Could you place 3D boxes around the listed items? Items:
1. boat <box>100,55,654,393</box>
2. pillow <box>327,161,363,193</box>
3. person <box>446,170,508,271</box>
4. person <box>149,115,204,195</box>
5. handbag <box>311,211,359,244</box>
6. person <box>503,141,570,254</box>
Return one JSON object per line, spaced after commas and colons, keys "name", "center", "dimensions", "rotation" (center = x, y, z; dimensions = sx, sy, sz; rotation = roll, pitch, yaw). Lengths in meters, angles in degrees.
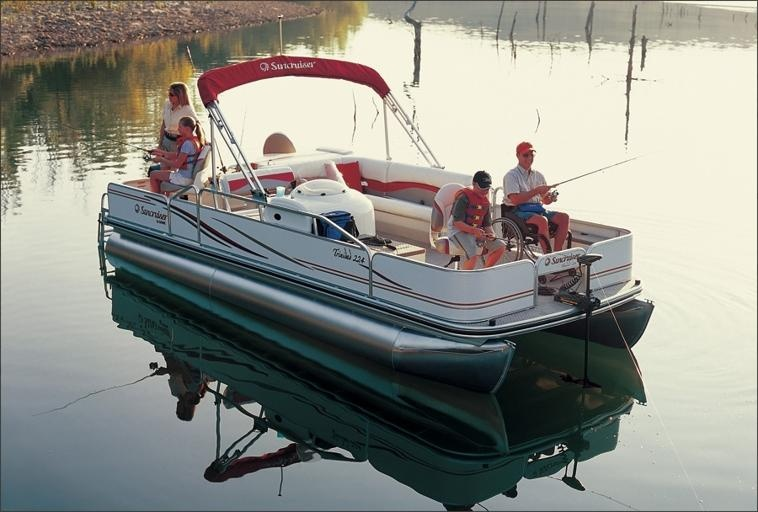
{"name": "boat", "center": [-0.268, -0.636, 12.329], "dimensions": [7.529, 2.672, 4.148], "rotation": [15, 22, 38]}
{"name": "pillow", "center": [-0.511, -1.173, 13.211], "dimensions": [0.497, 0.408, 0.174], "rotation": [2, -14, -39]}
{"name": "person", "center": [1.103, -0.340, 10.519], "dimensions": [0.964, 1.246, 0.850], "rotation": [2, 10, -16]}
{"name": "person", "center": [-2.883, -1.232, 12.343], "dimensions": [0.950, 1.360, 0.545], "rotation": [8, 20, 11]}
{"name": "handbag", "center": [-0.558, -0.356, 11.040], "dimensions": [0.504, 0.372, 0.424], "rotation": [5, 10, -29]}
{"name": "person", "center": [1.958, -0.675, 10.834], "dimensions": [0.861, 1.318, 1.074], "rotation": [-19, 26, -39]}
